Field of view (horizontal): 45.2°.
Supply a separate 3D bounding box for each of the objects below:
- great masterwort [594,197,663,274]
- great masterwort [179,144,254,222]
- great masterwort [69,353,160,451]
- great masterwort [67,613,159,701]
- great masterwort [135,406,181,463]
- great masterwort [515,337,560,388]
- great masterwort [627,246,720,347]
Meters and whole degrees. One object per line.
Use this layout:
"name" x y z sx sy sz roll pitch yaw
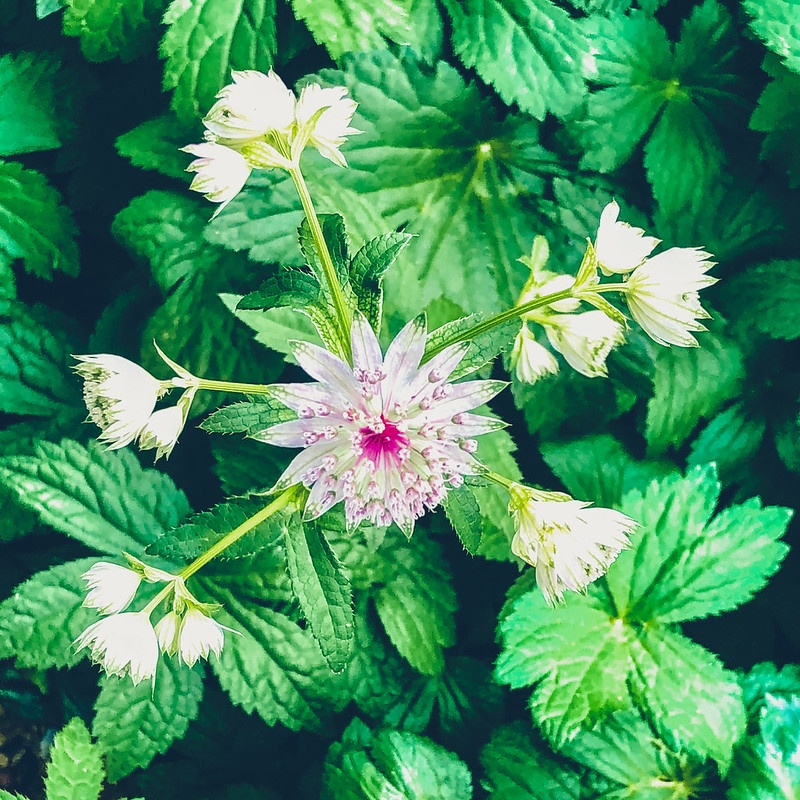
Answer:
"great masterwort" 0.338 -0.238 1.432 0.088 0.062 0.111 -20 94 9
"great masterwort" -0.282 -0.339 1.472 0.090 0.113 0.051 -14 16 10
"great masterwort" -0.441 0.000 1.449 0.134 0.095 0.117 20 56 8
"great masterwort" -0.435 0.388 1.481 0.109 0.115 0.063 35 25 -12
"great masterwort" -0.375 0.052 1.504 0.050 0.023 0.091 34 79 -14
"great masterwort" 0.235 -0.070 1.664 0.059 0.106 0.026 -14 21 18
"great masterwort" 0.408 -0.151 1.443 0.133 0.121 0.114 -19 58 -17
